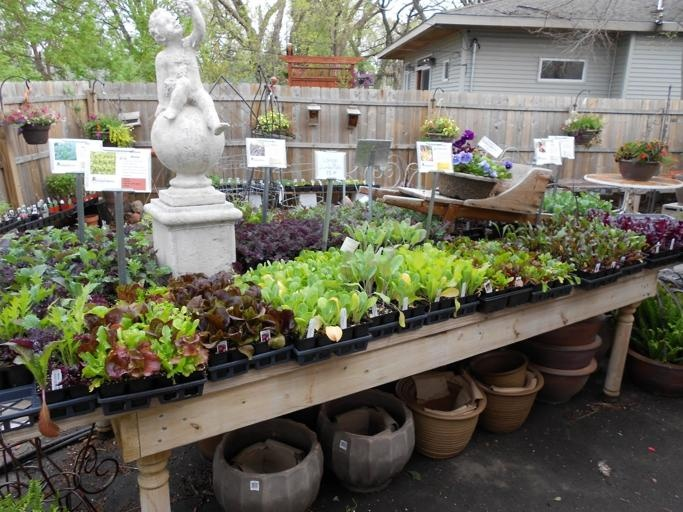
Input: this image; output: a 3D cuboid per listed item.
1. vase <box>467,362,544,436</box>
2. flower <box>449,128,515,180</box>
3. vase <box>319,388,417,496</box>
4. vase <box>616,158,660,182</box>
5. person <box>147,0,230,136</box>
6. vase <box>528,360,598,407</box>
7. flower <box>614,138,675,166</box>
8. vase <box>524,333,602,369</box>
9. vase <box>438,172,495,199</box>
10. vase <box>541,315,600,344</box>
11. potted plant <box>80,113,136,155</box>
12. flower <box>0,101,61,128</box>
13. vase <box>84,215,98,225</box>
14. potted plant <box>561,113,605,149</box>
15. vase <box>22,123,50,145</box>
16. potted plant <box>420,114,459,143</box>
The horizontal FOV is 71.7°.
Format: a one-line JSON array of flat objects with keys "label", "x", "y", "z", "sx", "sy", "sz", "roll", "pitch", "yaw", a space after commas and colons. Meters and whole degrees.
[{"label": "vase", "x": 1.141, "y": 1.030, "z": 3.370, "sx": 0.454, "sy": 0.264, "sz": 0.427, "roll": -1, "pitch": 12, "yaw": 4}, {"label": "flower", "x": 1.151, "y": -0.842, "z": 3.926, "sx": 0.458, "sy": 0.378, "sz": 0.664, "roll": 12, "pitch": 18, "yaw": 35}, {"label": "vase", "x": 0.053, "y": 1.157, "z": 2.954, "sx": 0.684, "sy": 0.417, "sz": 0.659, "roll": 4, "pitch": 8, "yaw": -4}, {"label": "vase", "x": 3.512, "y": -1.035, "z": 5.642, "sx": 0.343, "sy": 0.148, "sz": 0.334, "roll": 6, "pitch": 8, "yaw": 24}, {"label": "person", "x": -0.968, "y": -1.204, "z": 2.955, "sx": 0.441, "sy": 0.854, "sz": 0.614, "roll": -4, "pitch": 16, "yaw": -15}, {"label": "vase", "x": 1.689, "y": 0.978, "z": 3.726, "sx": 0.511, "sy": 0.272, "sz": 0.507, "roll": 6, "pitch": -1, "yaw": 22}, {"label": "flower", "x": 3.617, "y": -1.238, "z": 5.616, "sx": 0.426, "sy": 0.225, "sz": 0.441, "roll": -12, "pitch": 13, "yaw": -40}, {"label": "vase", "x": 1.644, "y": 0.735, "z": 3.539, "sx": 0.344, "sy": 0.103, "sz": 0.325, "roll": -1, "pitch": 6, "yaw": 4}, {"label": "vase", "x": 0.944, "y": -0.576, "z": 3.837, "sx": 0.263, "sy": 0.219, "sz": 0.548, "roll": -7, "pitch": 17, "yaw": -28}, {"label": "vase", "x": 1.670, "y": 0.562, "z": 3.479, "sx": 0.271, "sy": 0.088, "sz": 0.268, "roll": -2, "pitch": 7, "yaw": 33}, {"label": "potted plant", "x": -3.373, "y": -1.817, "z": 6.848, "sx": 0.506, "sy": 0.422, "sz": 0.606, "roll": -12, "pitch": 20, "yaw": -39}, {"label": "flower", "x": -3.462, "y": -1.565, "z": 5.231, "sx": 0.387, "sy": 0.255, "sz": 0.643, "roll": -2, "pitch": 15, "yaw": -12}, {"label": "vase", "x": -3.140, "y": -0.441, "z": 5.955, "sx": 0.144, "sy": 0.138, "sz": 0.465, "roll": -6, "pitch": 16, "yaw": -24}, {"label": "potted plant", "x": 4.567, "y": -2.365, "z": 8.857, "sx": 0.818, "sy": 0.633, "sz": 0.484, "roll": -3, "pitch": 16, "yaw": -15}, {"label": "vase", "x": -3.441, "y": -1.374, "z": 5.353, "sx": 0.260, "sy": 0.174, "sz": 0.255, "roll": -3, "pitch": 11, "yaw": -24}, {"label": "potted plant", "x": 1.560, "y": -2.206, "z": 8.268, "sx": 0.760, "sy": 0.482, "sz": 0.715, "roll": 8, "pitch": 24, "yaw": 5}]
